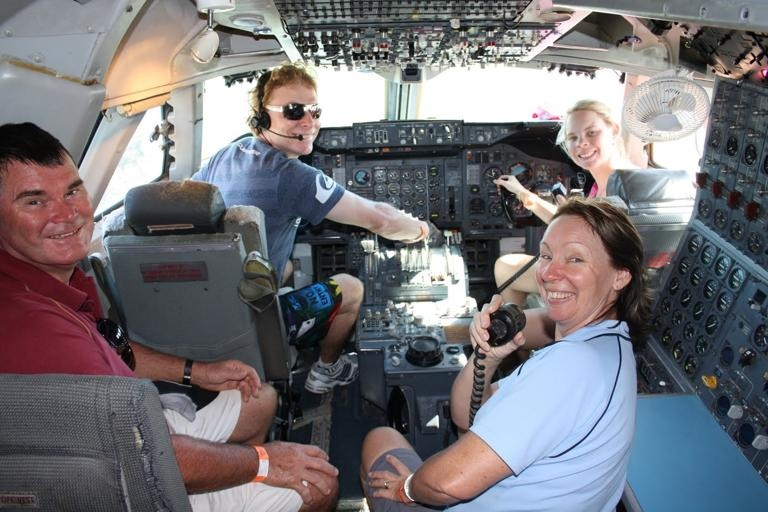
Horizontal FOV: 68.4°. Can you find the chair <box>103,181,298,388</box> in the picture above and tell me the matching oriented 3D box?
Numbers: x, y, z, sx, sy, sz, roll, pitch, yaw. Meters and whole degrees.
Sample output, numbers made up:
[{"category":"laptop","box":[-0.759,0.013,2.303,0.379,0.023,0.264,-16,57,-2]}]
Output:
[{"category":"chair","box":[-1.078,0.082,3.454,0.983,1.200,0.912,2,25,5]}]

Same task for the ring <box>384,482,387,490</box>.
[{"category":"ring","box":[0.010,0.989,2.433,0.020,0.019,0.020,-5,-25,-2]}]

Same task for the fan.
[{"category":"fan","box":[1.602,-0.829,3.204,0.438,0.321,0.344,6,5,26]}]

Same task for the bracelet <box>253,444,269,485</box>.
[{"category":"bracelet","box":[-0.540,0.928,2.527,0.113,0.129,0.139,-7,1,-10]}]

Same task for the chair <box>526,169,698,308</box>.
[{"category":"chair","box":[1.653,-0.142,3.889,1.010,1.222,0.896,-1,11,2]}]

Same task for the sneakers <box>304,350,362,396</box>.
[{"category":"sneakers","box":[-0.351,0.840,4.209,0.485,0.219,0.186,-19,24,-41]}]
